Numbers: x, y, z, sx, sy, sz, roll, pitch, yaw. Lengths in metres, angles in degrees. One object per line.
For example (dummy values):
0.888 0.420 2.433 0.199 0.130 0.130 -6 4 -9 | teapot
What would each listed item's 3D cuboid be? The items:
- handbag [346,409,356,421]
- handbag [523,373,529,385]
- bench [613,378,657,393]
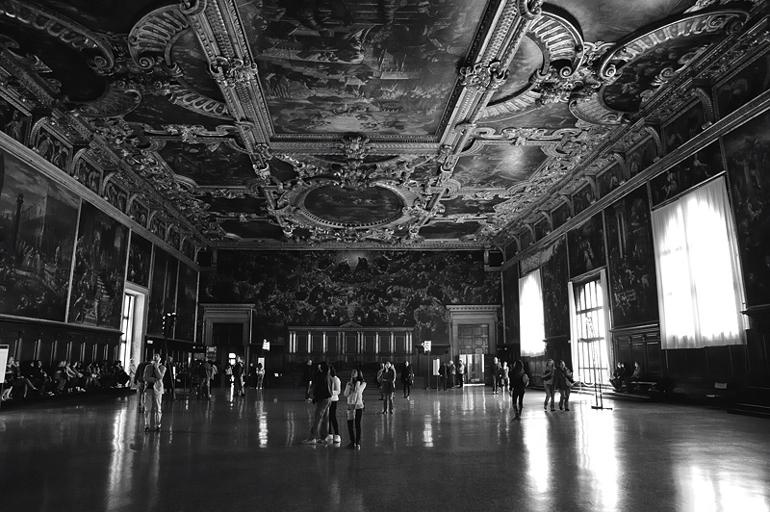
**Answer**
-0.703 3.401 10.568 0.154 0.312 0.287 1 -13 -9 | handbag
4.228 3.745 14.958 0.086 0.350 0.363 4 -18 33 | handbag
9.092 4.802 18.045 0.262 0.496 2.096 2 -14 -9 | bench
